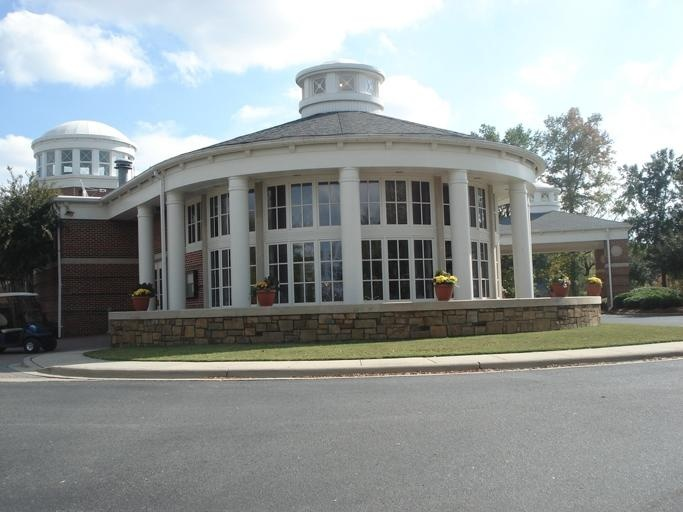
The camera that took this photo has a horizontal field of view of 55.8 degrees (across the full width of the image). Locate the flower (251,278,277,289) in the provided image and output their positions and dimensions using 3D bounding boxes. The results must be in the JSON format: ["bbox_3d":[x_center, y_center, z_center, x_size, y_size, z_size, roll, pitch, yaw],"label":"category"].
[{"bbox_3d":[-2.452,0.940,21.257,0.548,0.297,0.560,-1,-6,-3],"label":"flower"}]

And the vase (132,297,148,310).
[{"bbox_3d":[-7.663,1.807,24.540,0.525,0.403,0.533,-11,-13,42],"label":"vase"}]

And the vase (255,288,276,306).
[{"bbox_3d":[-2.472,1.365,21.187,0.526,0.406,0.536,1,-12,-12],"label":"vase"}]

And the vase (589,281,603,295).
[{"bbox_3d":[10.252,1.355,26.324,0.495,0.386,0.507,1,-11,-3],"label":"vase"}]

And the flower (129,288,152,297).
[{"bbox_3d":[-7.552,1.402,24.543,0.428,0.302,0.410,2,-6,-22],"label":"flower"}]

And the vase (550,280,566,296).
[{"bbox_3d":[8.089,1.223,24.223,0.483,0.581,0.964,-1,0,-15],"label":"vase"}]
